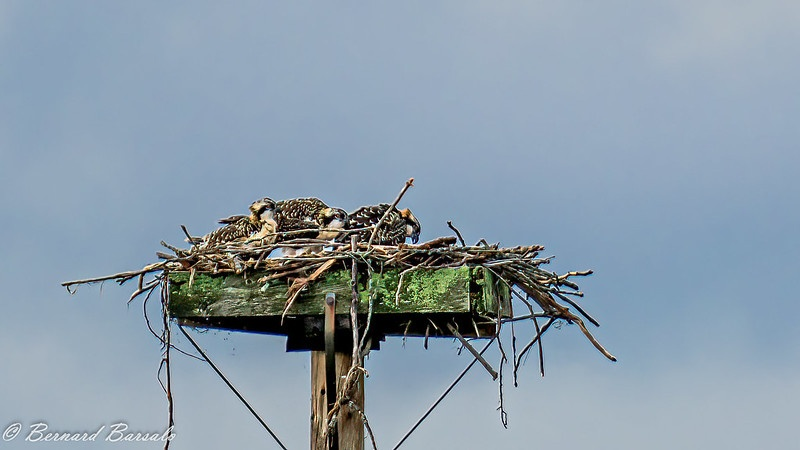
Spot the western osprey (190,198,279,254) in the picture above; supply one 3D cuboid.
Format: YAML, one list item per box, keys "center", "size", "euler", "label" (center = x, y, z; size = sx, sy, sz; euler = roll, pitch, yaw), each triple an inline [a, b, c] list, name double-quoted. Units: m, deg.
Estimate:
- center: [-1.569, 0.056, 16.026]
  size: [0.918, 0.479, 0.567]
  euler: [-3, -83, 14]
  label: "western osprey"
